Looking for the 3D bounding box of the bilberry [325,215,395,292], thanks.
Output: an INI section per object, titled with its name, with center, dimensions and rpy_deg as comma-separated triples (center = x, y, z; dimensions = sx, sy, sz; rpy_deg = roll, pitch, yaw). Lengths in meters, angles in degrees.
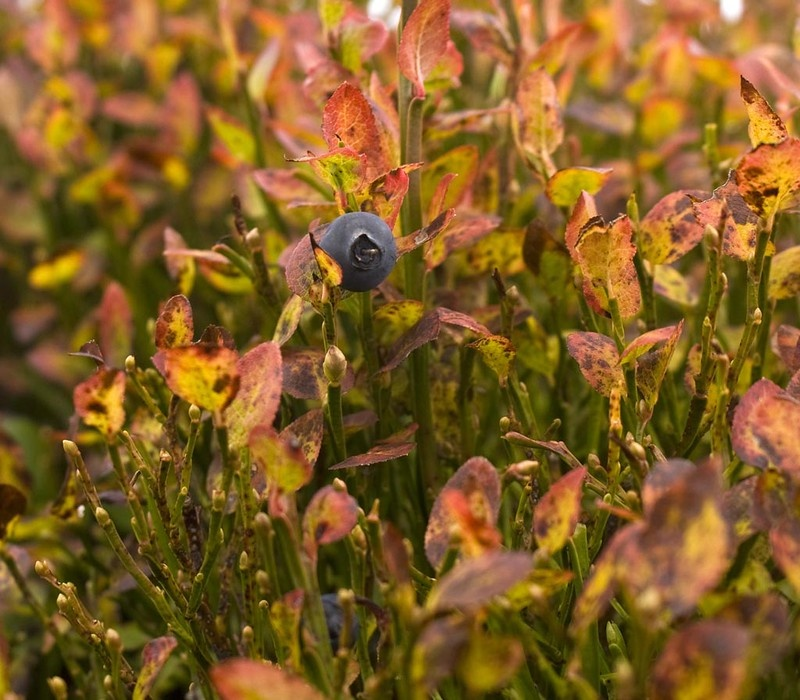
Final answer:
[bilberry]
center = -0.022, -0.062, 0.597
dimensions = 0.038, 0.044, 0.022
rpy_deg = -19, 13, -4
